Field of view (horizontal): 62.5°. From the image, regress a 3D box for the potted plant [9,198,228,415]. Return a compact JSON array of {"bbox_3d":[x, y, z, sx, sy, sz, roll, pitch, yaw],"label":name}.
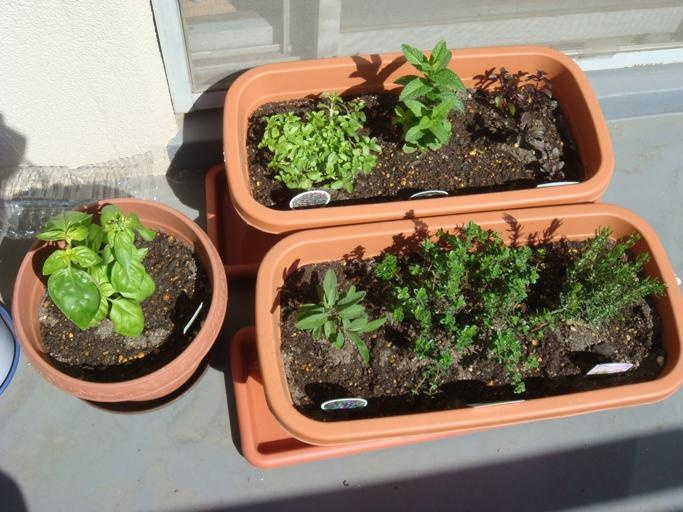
[{"bbox_3d":[-1.154,0.042,2.681,0.606,0.244,0.636,55,28,-8],"label":"potted plant"}]
